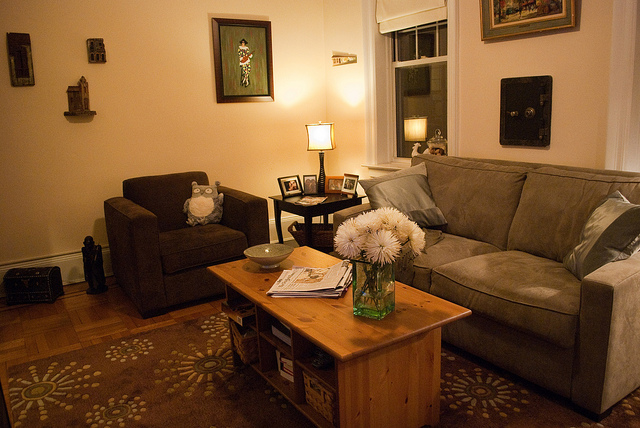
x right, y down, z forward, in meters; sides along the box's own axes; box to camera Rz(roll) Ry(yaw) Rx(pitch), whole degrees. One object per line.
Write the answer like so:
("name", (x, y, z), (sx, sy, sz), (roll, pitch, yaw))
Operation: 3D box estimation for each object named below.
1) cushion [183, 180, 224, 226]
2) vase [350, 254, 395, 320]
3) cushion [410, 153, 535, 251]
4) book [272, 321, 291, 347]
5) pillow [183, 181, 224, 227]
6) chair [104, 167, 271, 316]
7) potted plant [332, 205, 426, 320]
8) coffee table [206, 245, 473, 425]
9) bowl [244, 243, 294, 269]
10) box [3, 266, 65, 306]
("cushion", (-1.205, -0.105, 4.776), (0.412, 0.482, 0.297), (1, -6, 2))
("vase", (0.311, 0.416, 2.805), (0.221, 0.373, 0.219), (3, 11, 14))
("cushion", (1.306, -0.076, 3.868), (0.709, 0.498, 0.248), (14, 26, 42))
("book", (-0.254, 0.770, 3.010), (0.042, 0.104, 0.184), (-11, 17, -33))
("pillow", (-1.211, -0.107, 4.760), (0.394, 0.472, 0.290), (2, -7, 1))
("chair", (-1.342, 0.206, 4.651), (1.273, 1.209, 1.133), (-9, 13, -33))
("potted plant", (0.386, 0.295, 2.802), (0.390, 0.591, 0.528), (-5, -2, 17))
("coffee table", (0.175, 0.411, 2.881), (0.928, 0.845, 1.688), (-9, 16, -35))
("bowl", (-0.379, 0.255, 3.376), (0.219, 0.081, 0.222), (-1, 10, 0))
("box", (-2.797, 0.682, 4.473), (0.524, 0.427, 0.340), (-2, 19, -16))
